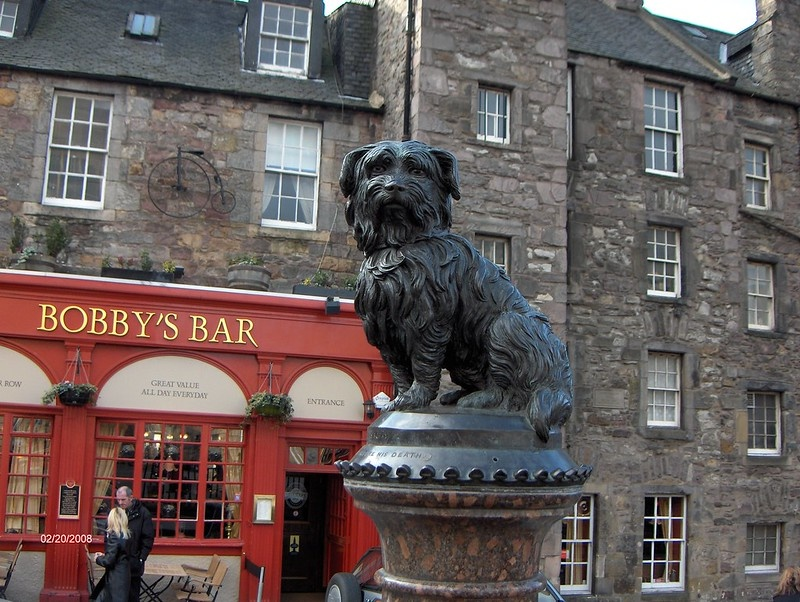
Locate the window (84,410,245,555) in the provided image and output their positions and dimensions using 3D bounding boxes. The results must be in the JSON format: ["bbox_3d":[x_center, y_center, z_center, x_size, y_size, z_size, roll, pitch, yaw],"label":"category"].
[{"bbox_3d":[-4.382,3.351,26.251,2.747,2.210,0.203,1,-8,-15],"label":"window"}]

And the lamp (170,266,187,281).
[{"bbox_3d":[-4.159,-0.483,27.287,0.332,0.315,0.239,3,27,-21],"label":"lamp"}]

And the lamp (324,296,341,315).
[{"bbox_3d":[-1.244,0.069,26.995,0.286,0.332,0.349,-1,-1,-10],"label":"lamp"}]

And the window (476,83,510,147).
[{"bbox_3d":[1.857,-3.685,28.369,0.638,1.044,0.130,2,-7,-16],"label":"window"}]

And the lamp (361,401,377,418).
[{"bbox_3d":[-0.554,2.040,27.202,0.312,0.413,0.273,-1,1,-3],"label":"lamp"}]
